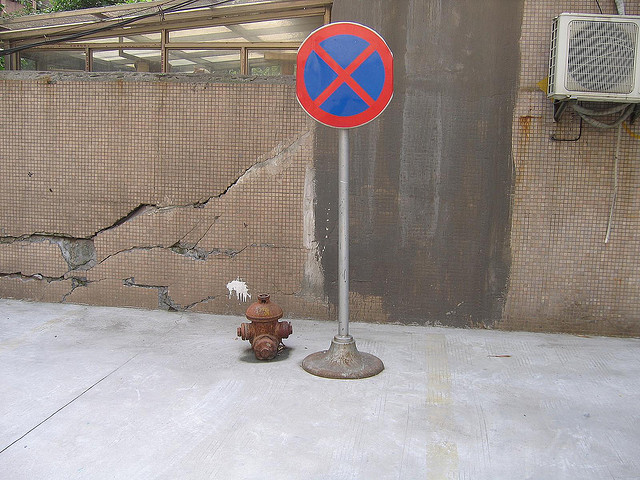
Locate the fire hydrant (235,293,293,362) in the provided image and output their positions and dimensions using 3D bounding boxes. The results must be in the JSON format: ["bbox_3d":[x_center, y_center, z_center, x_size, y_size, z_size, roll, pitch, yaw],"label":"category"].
[{"bbox_3d":[-0.611,0.912,6.256,0.474,0.649,0.372,8,16,28],"label":"fire hydrant"}]
